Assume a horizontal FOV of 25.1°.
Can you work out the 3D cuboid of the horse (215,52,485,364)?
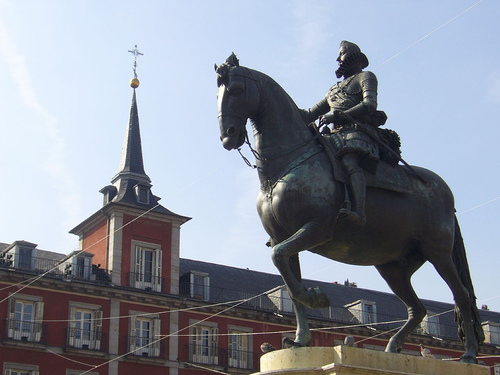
[{"bbox_3d":[2.287,0.747,24.019,6.139,6.426,1.874,8,-22,-23],"label":"horse"}]
